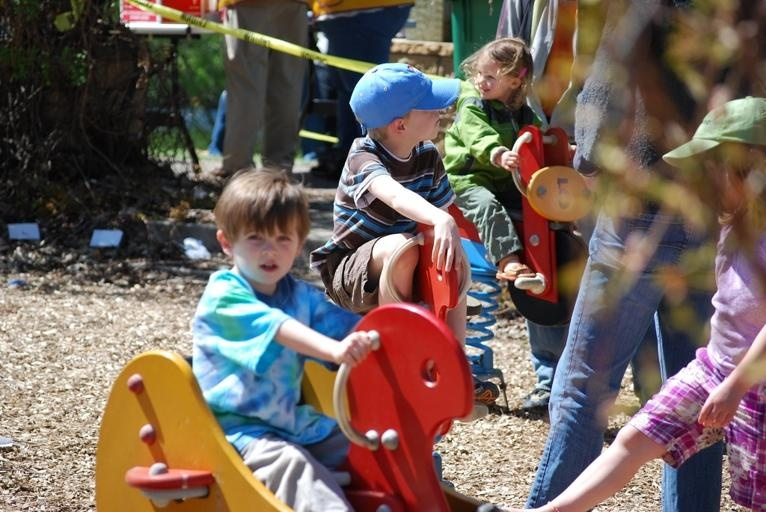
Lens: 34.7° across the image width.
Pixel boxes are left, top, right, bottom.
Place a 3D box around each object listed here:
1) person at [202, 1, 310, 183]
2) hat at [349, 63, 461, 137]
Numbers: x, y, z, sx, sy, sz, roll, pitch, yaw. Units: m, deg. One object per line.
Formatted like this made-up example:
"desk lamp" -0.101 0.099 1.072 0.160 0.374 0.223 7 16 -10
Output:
"person" -0.923 -1.236 9.189 0.597 1.376 0.719 5 14 2
"hat" 0.090 -0.841 6.058 0.440 0.289 0.311 -20 28 13
